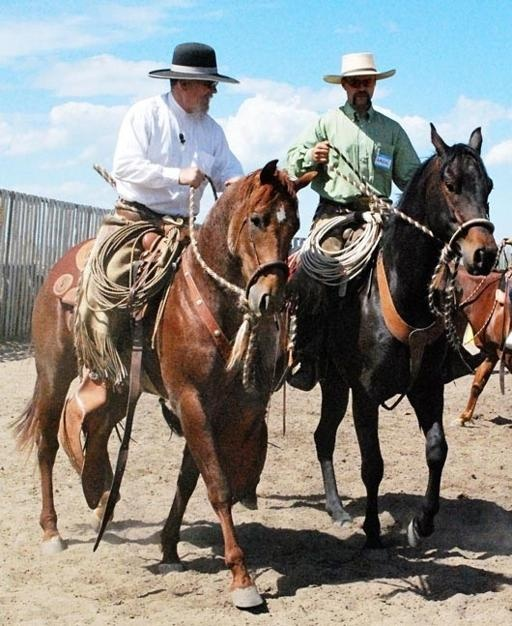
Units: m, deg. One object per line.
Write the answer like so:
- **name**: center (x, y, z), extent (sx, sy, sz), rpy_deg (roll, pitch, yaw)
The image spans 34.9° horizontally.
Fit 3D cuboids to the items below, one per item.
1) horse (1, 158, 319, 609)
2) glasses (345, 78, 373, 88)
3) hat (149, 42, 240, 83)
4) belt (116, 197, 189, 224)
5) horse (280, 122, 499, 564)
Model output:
- **horse**: center (-0.553, 0.336, 4.565), extent (0.849, 1.924, 2.868), rpy_deg (10, -10, -33)
- **glasses**: center (0.700, -1.541, 5.477), extent (0.112, 0.031, 0.104), rpy_deg (0, -4, 0)
- **hat**: center (-0.346, -1.341, 4.373), extent (0.463, 0.207, 0.325), rpy_deg (1, 10, -5)
- **belt**: center (-0.616, -0.554, 4.582), extent (0.296, 0.093, 0.211), rpy_deg (5, 0, 3)
- **horse**: center (0.846, 0.355, 5.283), extent (0.915, 2.110, 3.268), rpy_deg (3, -7, -4)
